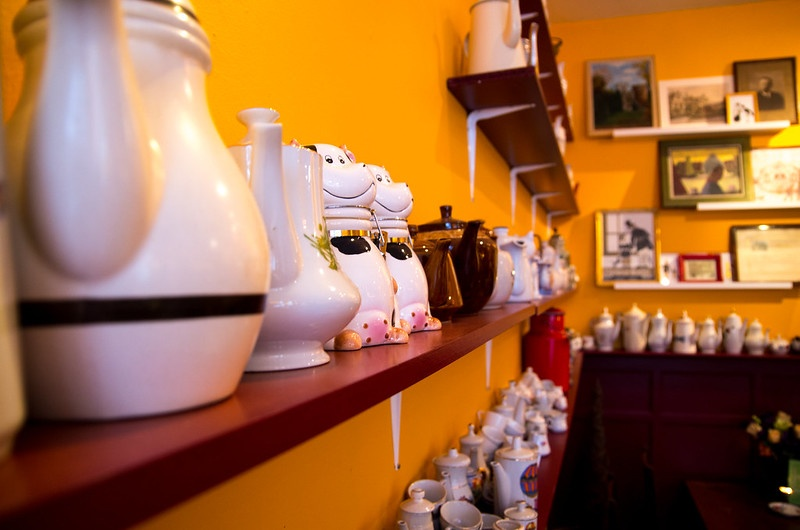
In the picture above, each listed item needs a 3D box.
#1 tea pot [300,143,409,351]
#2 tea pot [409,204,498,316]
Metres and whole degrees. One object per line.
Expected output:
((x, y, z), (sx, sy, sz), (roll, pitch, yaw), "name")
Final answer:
((-0.072, -0.020, 0.775), (0.159, 0.253, 0.165), (-6, -1, 0), "tea pot")
((0.113, -0.010, 1.141), (0.192, 0.216, 0.234), (-8, 4, -24), "tea pot")
